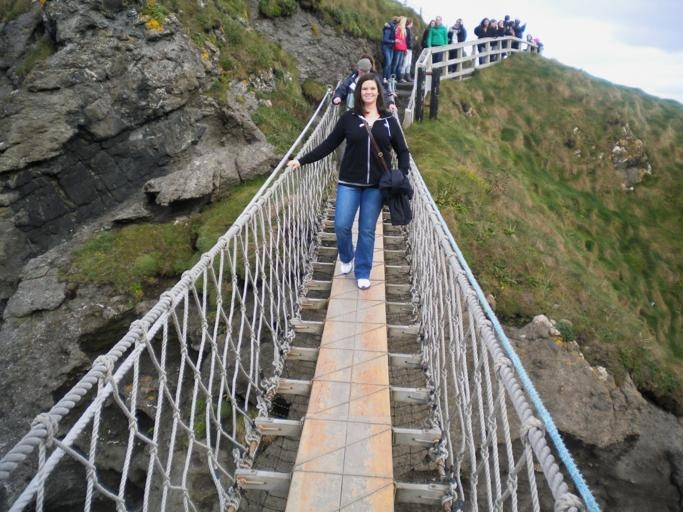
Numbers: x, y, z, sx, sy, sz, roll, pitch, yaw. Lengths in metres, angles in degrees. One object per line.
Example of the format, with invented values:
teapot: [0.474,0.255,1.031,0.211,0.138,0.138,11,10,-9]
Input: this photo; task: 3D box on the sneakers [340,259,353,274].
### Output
sneakers: [0.079,0.163,8.400,0.095,0.119,0.285,1,43,14]

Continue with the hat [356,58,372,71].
hat: [0.412,-3.400,10.359,0.185,0.220,0.277,-5,23,8]

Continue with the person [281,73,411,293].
person: [0.261,-1.150,8.311,1.307,2.576,1.145,25,34,30]
